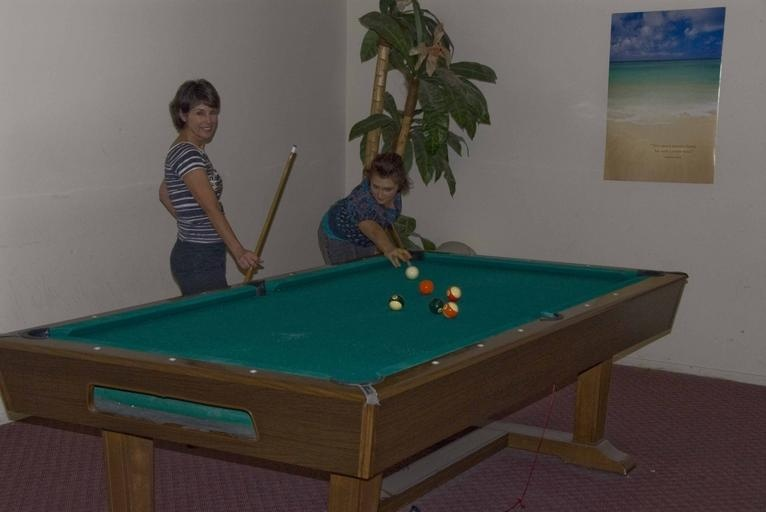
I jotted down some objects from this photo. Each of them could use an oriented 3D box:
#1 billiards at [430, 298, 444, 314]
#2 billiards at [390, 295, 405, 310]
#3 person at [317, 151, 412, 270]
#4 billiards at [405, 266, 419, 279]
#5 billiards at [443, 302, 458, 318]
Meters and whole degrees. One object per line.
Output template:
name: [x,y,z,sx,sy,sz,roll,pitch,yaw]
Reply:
billiards: [0.209,0.199,2.340,0.050,0.050,0.057,-13,3,31]
billiards: [0.055,0.190,2.380,0.054,0.040,0.054,10,17,8]
person: [-0.119,-0.219,3.522,0.535,0.752,0.535,22,18,-4]
billiards: [0.139,0.073,2.888,0.058,0.042,0.057,-14,43,-5]
billiards: [0.252,0.206,2.318,0.054,0.054,0.054,-9,21,-24]
